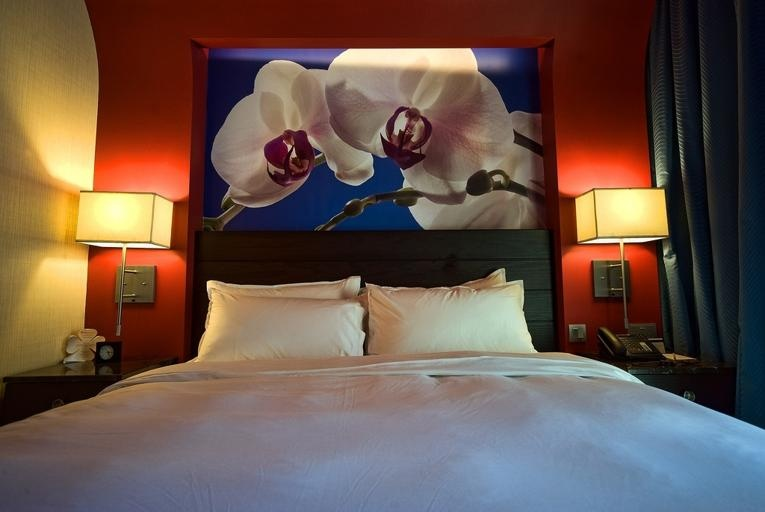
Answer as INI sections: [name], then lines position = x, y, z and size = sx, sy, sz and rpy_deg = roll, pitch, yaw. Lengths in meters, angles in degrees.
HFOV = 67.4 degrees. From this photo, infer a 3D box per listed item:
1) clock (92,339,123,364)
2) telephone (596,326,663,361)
[clock]
position = -1.712, 0.596, 3.555
size = 0.128, 0.136, 0.048
rpy_deg = 0, -13, -4
[telephone]
position = 1.556, 0.554, 3.611
size = 0.396, 0.136, 0.400
rpy_deg = -2, 8, -23
